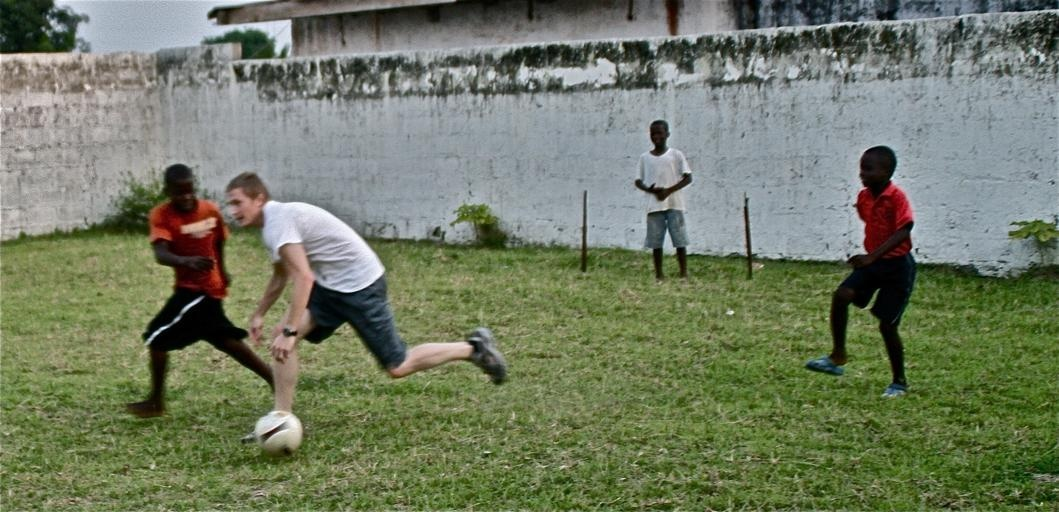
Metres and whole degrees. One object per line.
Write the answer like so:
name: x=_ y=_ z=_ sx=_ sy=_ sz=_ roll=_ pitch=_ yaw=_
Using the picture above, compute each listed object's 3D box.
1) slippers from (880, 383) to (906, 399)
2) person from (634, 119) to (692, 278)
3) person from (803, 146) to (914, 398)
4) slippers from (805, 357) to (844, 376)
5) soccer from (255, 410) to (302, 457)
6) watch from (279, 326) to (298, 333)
slippers: x=5.188 y=1.924 z=14.705 sx=0.346 sy=0.113 sz=0.190 roll=-7 pitch=-3 yaw=-35
person: x=2.395 y=-1.013 z=18.413 sx=0.767 sy=2.802 sz=0.824 roll=-9 pitch=12 yaw=-31
person: x=4.918 y=0.213 z=14.785 sx=1.074 sy=3.544 sz=1.151 roll=6 pitch=13 yaw=38
slippers: x=4.242 y=1.605 z=14.936 sx=0.754 sy=0.237 sz=0.217 roll=7 pitch=-4 yaw=1
soccer: x=-3.346 y=2.436 z=14.199 sx=0.755 sy=0.558 sz=0.638 roll=7 pitch=-7 yaw=18
watch: x=-3.267 y=1.011 z=13.890 sx=0.123 sy=0.089 sz=0.112 roll=17 pitch=25 yaw=24
